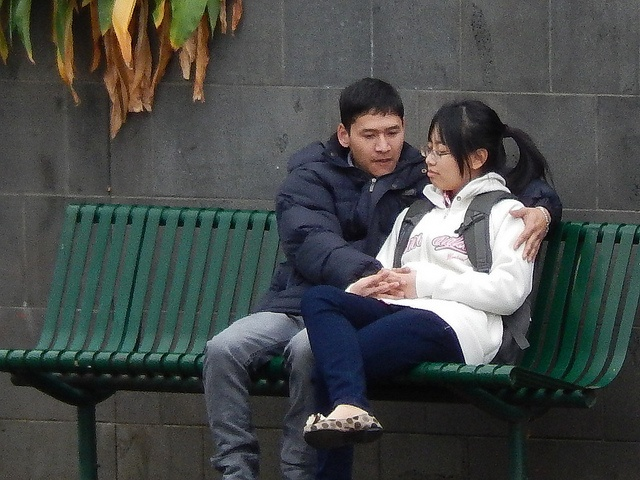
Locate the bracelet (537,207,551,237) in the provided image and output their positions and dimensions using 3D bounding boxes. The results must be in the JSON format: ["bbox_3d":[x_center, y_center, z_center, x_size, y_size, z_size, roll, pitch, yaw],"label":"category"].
[{"bbox_3d":[1.184,-0.093,8.153,0.056,0.143,0.105,-7,44,-16],"label":"bracelet"}]

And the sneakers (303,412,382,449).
[{"bbox_3d":[0.101,0.909,7.517,0.413,0.158,0.187,-1,42,-8],"label":"sneakers"}]
